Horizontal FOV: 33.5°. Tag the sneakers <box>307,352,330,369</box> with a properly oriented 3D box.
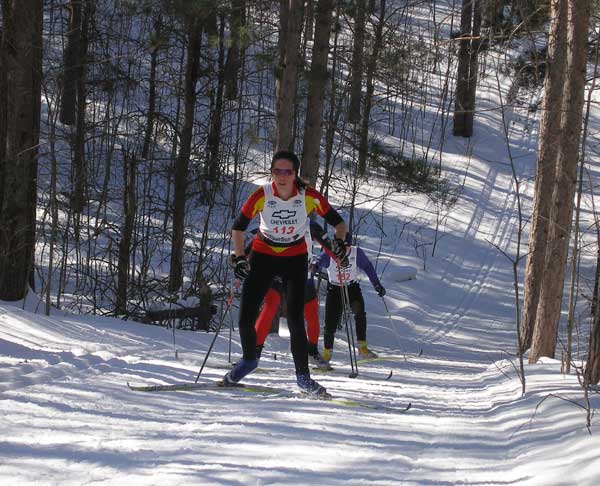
[{"bbox_3d":[0.296,1.736,14.690,0.375,0.195,0.141,6,0,39],"label":"sneakers"}]

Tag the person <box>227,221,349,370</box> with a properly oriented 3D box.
[{"bbox_3d":[-0.078,0.494,14.016,1.421,3.121,0.941,3,31,2],"label":"person"}]

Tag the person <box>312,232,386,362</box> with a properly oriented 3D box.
[{"bbox_3d":[0.651,0.803,15.675,1.143,2.185,0.810,-3,-21,0],"label":"person"}]

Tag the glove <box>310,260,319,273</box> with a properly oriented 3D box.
[{"bbox_3d":[0.226,0.364,15.240,0.118,0.074,0.151,40,-28,-24],"label":"glove"}]

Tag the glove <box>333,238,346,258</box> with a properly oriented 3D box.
[{"bbox_3d":[0.517,0.053,12.938,0.149,0.234,0.076,3,-16,-30],"label":"glove"}]

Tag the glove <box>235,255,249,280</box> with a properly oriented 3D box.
[{"bbox_3d":[-0.747,0.295,12.561,0.216,0.277,0.198,4,8,-4],"label":"glove"}]

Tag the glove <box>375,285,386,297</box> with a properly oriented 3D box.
[{"bbox_3d":[1.274,0.744,15.662,0.131,0.079,0.190,7,38,-53],"label":"glove"}]
